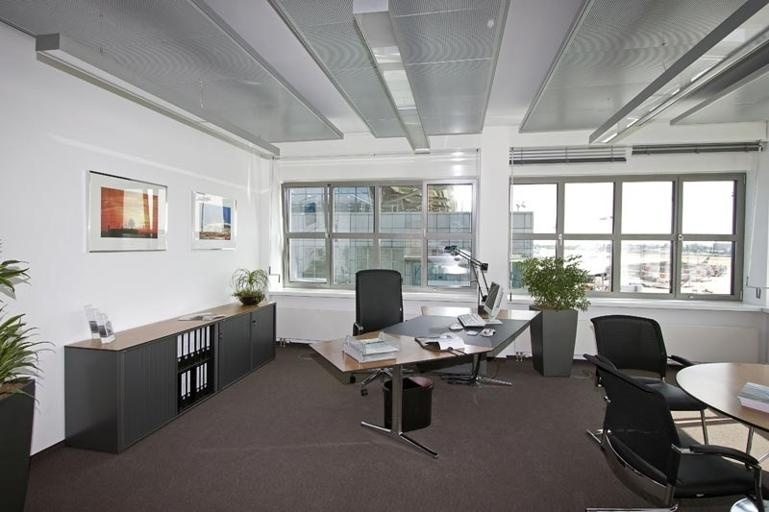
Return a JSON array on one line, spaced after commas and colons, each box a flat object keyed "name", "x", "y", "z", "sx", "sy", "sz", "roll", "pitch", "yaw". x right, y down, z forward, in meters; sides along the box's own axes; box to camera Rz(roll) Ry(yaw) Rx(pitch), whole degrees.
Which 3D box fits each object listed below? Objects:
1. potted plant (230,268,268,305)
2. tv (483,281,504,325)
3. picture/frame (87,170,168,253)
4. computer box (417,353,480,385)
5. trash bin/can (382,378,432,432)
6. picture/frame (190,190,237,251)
[{"name": "potted plant", "x": -1.873, "y": 0.434, "z": 6.759, "sx": 0.422, "sy": 0.457, "sz": 0.485, "roll": 7, "pitch": 8, "yaw": 38}, {"name": "tv", "x": 1.309, "y": 0.573, "z": 5.813, "sx": 0.140, "sy": 0.389, "sz": 0.396, "roll": 6, "pitch": -6, "yaw": 5}, {"name": "picture/frame", "x": -2.766, "y": -0.443, "z": 5.246, "sx": 0.952, "sy": 0.775, "sz": 0.031, "roll": 6, "pitch": 8, "yaw": 11}, {"name": "computer box", "x": 0.730, "y": 1.283, "z": 5.455, "sx": 0.410, "sy": 0.314, "sz": 0.663, "roll": -2, "pitch": 3, "yaw": -30}, {"name": "trash bin/can", "x": 0.194, "y": 1.574, "z": 5.102, "sx": 0.602, "sy": 0.482, "sz": 0.416, "roll": 3, "pitch": -8, "yaw": -18}, {"name": "picture/frame", "x": -2.239, "y": -0.459, "z": 6.411, "sx": 0.962, "sy": 0.728, "sz": 0.018, "roll": 7, "pitch": 7, "yaw": 35}]
